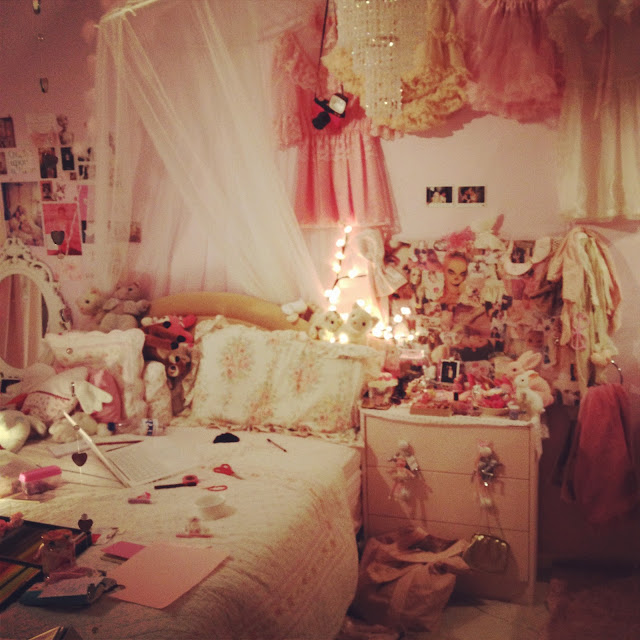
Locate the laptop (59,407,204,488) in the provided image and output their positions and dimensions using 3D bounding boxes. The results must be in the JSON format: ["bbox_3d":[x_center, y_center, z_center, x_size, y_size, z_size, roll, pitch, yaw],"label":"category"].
[{"bbox_3d":[-0.640,0.396,2.193,0.306,0.140,0.353,-7,13,-32],"label":"laptop"}]

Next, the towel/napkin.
[{"bbox_3d":[1.151,0.542,2.461,0.279,0.557,0.127,5,14,20],"label":"towel/napkin"}]

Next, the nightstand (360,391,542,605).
[{"bbox_3d":[0.535,0.717,2.386,0.928,0.815,0.479,-1,-3,22],"label":"nightstand"}]

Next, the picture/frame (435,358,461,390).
[{"bbox_3d":[0.590,0.241,2.681,0.146,0.133,0.093,1,-1,13],"label":"picture/frame"}]

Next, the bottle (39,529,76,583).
[{"bbox_3d":[-0.668,0.610,1.552,0.081,0.105,0.116,2,4,5],"label":"bottle"}]

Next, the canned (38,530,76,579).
[{"bbox_3d":[-0.674,0.602,1.556,0.082,0.103,0.115,2,5,6],"label":"canned"}]

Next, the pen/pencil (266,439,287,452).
[{"bbox_3d":[-0.169,0.494,2.417,0.029,0.017,0.126,-37,30,-22],"label":"pen/pencil"}]

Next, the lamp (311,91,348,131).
[{"bbox_3d":[0.046,-0.915,2.651,0.156,0.156,0.173,1,12,1],"label":"lamp"}]

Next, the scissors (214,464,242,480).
[{"bbox_3d":[-0.323,0.541,2.156,0.056,0.015,0.054,18,6,9],"label":"scissors"}]
